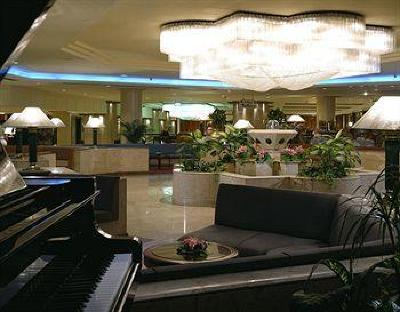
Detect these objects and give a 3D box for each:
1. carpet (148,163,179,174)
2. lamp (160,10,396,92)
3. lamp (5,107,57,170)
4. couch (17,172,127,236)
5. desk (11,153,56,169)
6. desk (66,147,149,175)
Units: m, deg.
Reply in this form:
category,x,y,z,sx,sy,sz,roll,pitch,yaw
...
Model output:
category,x,y,z,sx,sy,sz,roll,pitch,yaw
carpet,-1.665,0.563,13.600,1.066,0.116,2.593,-2,5,-9
lamp,1.658,-2.225,6.479,2.555,0.539,2.367,-1,3,-19
lamp,-2.406,-0.265,4.214,0.621,0.823,0.923,-2,5,-8
couch,-1.705,0.738,4.785,1.183,1.223,1.257,-2,-13,11
desk,-3.052,0.096,5.780,0.582,0.224,0.532,1,1,-12
desk,-3.387,-0.047,11.657,0.912,0.966,2.791,16,15,14
